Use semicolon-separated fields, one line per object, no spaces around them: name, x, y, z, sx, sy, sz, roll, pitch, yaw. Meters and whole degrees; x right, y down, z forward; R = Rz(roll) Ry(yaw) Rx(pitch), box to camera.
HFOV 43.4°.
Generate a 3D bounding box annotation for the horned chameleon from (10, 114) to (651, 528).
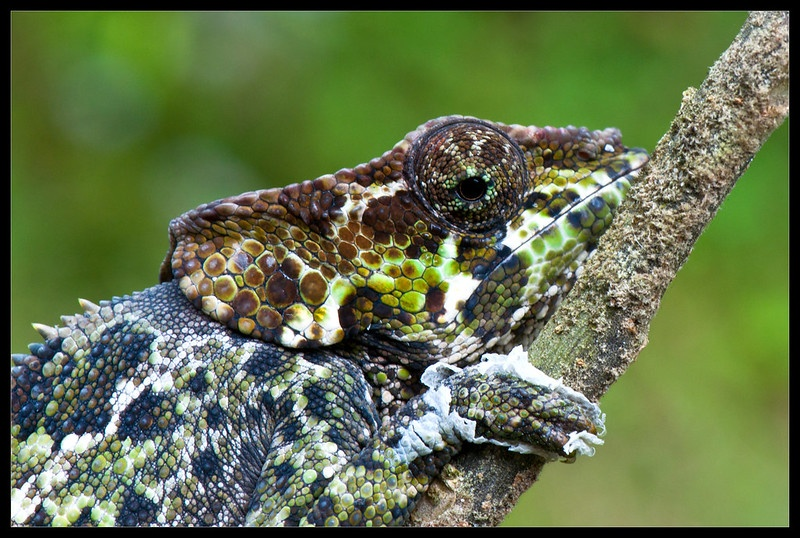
horned chameleon;-0.215;0.219;2.477;1.274;0.522;0.965;-16;1;-3
